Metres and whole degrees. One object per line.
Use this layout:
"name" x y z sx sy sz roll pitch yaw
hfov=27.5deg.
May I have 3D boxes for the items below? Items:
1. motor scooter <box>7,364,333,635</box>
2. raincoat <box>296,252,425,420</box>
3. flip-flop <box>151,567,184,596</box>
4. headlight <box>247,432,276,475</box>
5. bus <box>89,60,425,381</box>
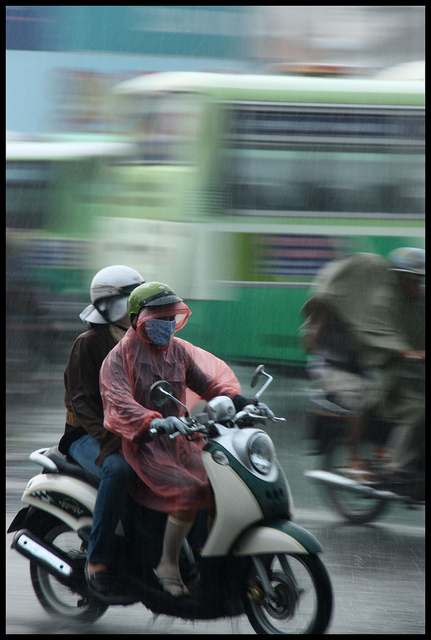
"motor scooter" -0.187 0.876 3.962 1.435 1.135 0.343 5 12 20
"raincoat" 0.736 0.038 4.278 0.571 0.785 0.744 -9 15 -42
"flip-flop" -0.222 1.162 3.949 0.052 0.065 0.188 -30 55 -26
"headlight" 0.193 0.562 3.695 0.048 0.153 0.154 -12 3 42
"bus" 0.200 -0.480 4.136 1.576 1.477 0.449 0 12 -7
